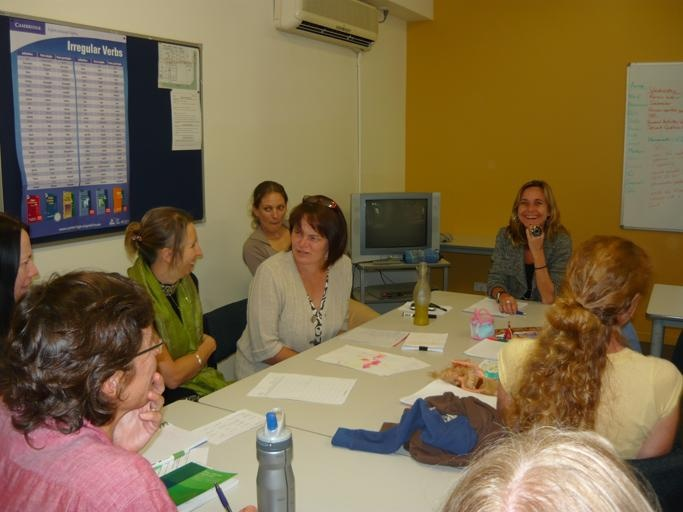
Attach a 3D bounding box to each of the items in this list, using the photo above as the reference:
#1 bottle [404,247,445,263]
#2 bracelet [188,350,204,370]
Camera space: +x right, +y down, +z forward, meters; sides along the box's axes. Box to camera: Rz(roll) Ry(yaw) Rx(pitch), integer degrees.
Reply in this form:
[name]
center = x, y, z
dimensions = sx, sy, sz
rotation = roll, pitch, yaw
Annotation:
[bottle]
center = 0.709, 0.005, 4.644
dimensions = 0.323, 0.122, 0.244
rotation = 0, 11, 7
[bracelet]
center = -0.722, 0.514, 2.595
dimensions = 0.023, 0.068, 0.051
rotation = -26, 26, -28
